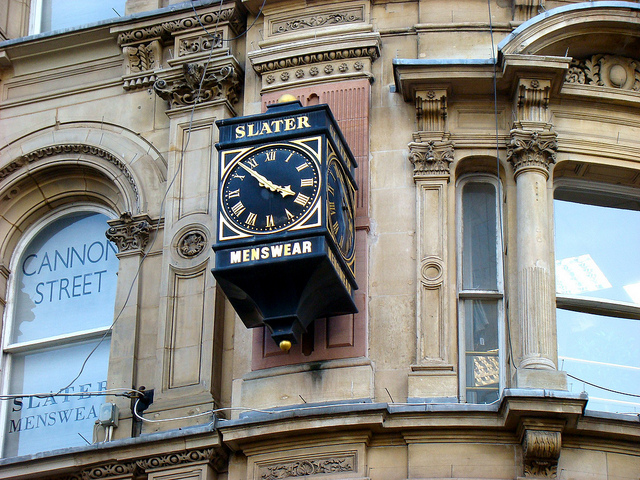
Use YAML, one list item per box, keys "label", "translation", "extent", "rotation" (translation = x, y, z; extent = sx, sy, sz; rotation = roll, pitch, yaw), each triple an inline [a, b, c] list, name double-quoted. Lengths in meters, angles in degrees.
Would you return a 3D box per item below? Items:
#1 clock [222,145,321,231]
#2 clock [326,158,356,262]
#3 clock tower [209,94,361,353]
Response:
- label: "clock"
  translation: [-0.787, -0.819, 26.746]
  extent: [1.474, 1.494, 0.104]
  rotation: [2, -24, 14]
- label: "clock"
  translation: [0.272, -0.478, 26.953]
  extent: [0.119, 1.236, 1.286]
  rotation: [-11, -43, 17]
- label: "clock tower"
  translation: [-0.612, -0.142, 27.063]
  extent: [2.007, 4.004, 1.487]
  rotation: [-8, -26, 17]
